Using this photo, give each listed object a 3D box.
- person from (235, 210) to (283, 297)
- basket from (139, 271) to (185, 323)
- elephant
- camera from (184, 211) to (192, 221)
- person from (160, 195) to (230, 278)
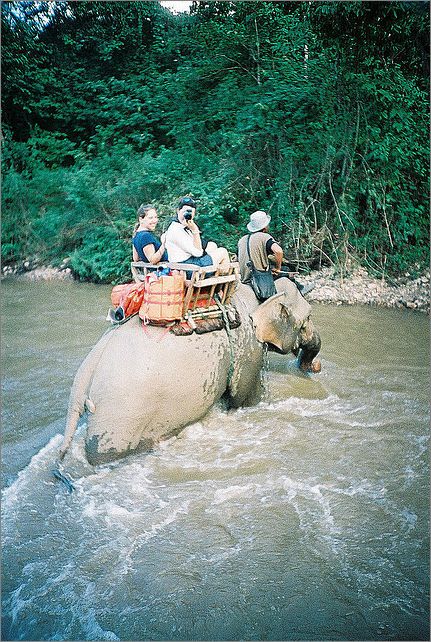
[{"bbox_3d":[0.470,-0.608,5.571,0.508,0.991,0.615,6,23,17],"label":"person"},{"bbox_3d":[-0.385,-0.147,3.829,0.311,0.362,0.222,-1,14,-6],"label":"basket"},{"bbox_3d":[-0.207,0.080,4.653,2.507,1.338,1.032,-29,51,-32],"label":"elephant"},{"bbox_3d":[-0.207,-0.792,4.043,0.042,0.053,0.026,0,14,-2],"label":"camera"},{"bbox_3d":[-0.123,-0.598,4.278,0.538,0.706,0.322,-8,10,-1],"label":"person"}]
